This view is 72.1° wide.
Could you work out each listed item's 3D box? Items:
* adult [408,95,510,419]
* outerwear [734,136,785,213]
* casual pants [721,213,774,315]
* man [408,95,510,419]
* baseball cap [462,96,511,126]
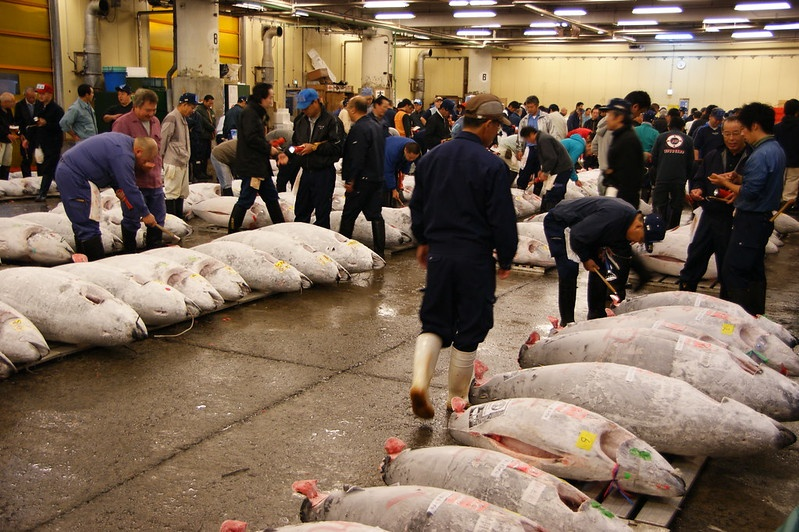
[{"bbox_3d":[0.486,-0.097,4.048,0.778,2.248,0.983,1,18,1],"label":"adult"},{"bbox_3d":[3.684,-0.935,5.636,0.775,0.635,0.415,-19,23,-40],"label":"outerwear"},{"bbox_3d":[3.641,-0.024,5.725,0.461,1.081,0.392,9,20,23],"label":"casual pants"},{"bbox_3d":[0.485,-0.097,4.048,0.781,2.248,0.980,1,18,1],"label":"man"},{"bbox_3d":[0.661,-1.179,4.175,0.284,0.136,0.195,-5,25,-23],"label":"baseball cap"}]
